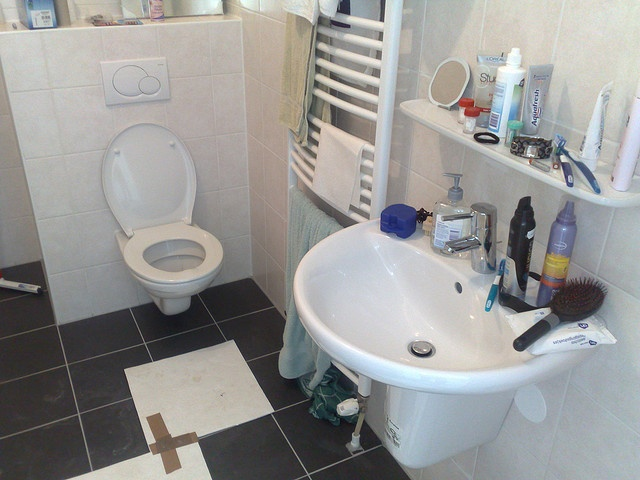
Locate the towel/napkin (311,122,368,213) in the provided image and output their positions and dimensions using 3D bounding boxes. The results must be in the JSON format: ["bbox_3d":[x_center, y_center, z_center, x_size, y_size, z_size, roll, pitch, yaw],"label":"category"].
[{"bbox_3d":[0.078,-0.284,1.882,0.069,0.292,0.270,-11,32,-28],"label":"towel/napkin"}]

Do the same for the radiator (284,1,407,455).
[{"bbox_3d":[0.085,-0.102,1.983,0.220,1.520,0.598,-10,31,-19],"label":"radiator"}]

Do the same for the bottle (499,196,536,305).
[{"bbox_3d":[0.523,0.019,1.294,0.086,0.304,0.089,-5,31,3],"label":"bottle"}]

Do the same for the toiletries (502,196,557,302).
[{"bbox_3d":[0.510,0.025,1.268,0.075,0.296,0.097,-4,26,-13],"label":"toiletries"}]

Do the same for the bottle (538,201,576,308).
[{"bbox_3d":[0.595,0.037,1.231,0.049,0.272,0.053,5,14,-1],"label":"bottle"}]

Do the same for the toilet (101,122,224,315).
[{"bbox_3d":[-0.781,-0.149,2.426,0.468,0.679,0.599,-16,35,-23],"label":"toilet"}]

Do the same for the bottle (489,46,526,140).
[{"bbox_3d":[0.471,-0.370,1.237,0.081,0.212,0.085,1,27,0],"label":"bottle"}]

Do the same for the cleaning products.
[{"bbox_3d":[0.471,-0.372,1.241,0.070,0.206,0.073,9,29,16],"label":"cleaning products"}]

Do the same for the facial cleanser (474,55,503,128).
[{"bbox_3d":[0.442,-0.401,1.324,0.035,0.166,0.090,-14,39,-21],"label":"facial cleanser"}]

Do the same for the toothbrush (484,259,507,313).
[{"bbox_3d":[0.463,0.127,1.288,0.032,0.023,0.220,37,52,-17],"label":"toothbrush"}]

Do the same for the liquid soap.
[{"bbox_3d":[0.387,-0.083,1.453,0.118,0.241,0.091,18,39,26],"label":"liquid soap"}]

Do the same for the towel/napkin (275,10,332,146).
[{"bbox_3d":[-0.059,-0.648,1.943,0.088,0.659,0.339,-11,36,-27],"label":"towel/napkin"}]

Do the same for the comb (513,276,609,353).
[{"bbox_3d":[0.567,0.178,1.165,0.292,0.078,0.083,-21,37,-28],"label":"comb"}]

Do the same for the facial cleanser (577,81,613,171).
[{"bbox_3d":[0.610,-0.246,1.088,0.041,0.187,0.064,7,32,14],"label":"facial cleanser"}]

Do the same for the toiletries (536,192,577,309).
[{"bbox_3d":[0.595,0.037,1.236,0.052,0.281,0.058,6,22,8],"label":"toiletries"}]

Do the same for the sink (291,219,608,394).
[{"bbox_3d":[0.225,0.263,1.350,0.488,0.282,0.732,-6,24,-12],"label":"sink"}]
